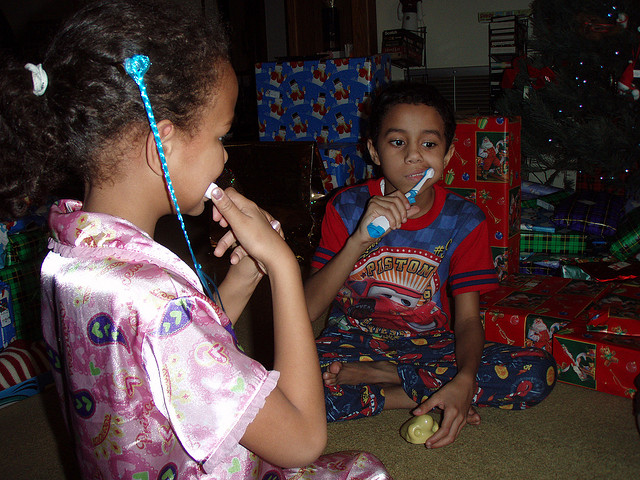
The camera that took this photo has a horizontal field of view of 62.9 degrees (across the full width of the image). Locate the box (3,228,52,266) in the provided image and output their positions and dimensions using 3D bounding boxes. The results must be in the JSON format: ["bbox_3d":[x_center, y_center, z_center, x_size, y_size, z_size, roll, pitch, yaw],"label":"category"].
[{"bbox_3d":[-1.037,0.028,1.832,0.134,0.110,0.150,-3,14,-10],"label":"box"}]

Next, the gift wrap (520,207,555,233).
[{"bbox_3d":[1.060,-0.093,2.557,0.152,0.038,0.161,6,31,19],"label":"gift wrap"}]

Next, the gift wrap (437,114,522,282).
[{"bbox_3d":[0.709,-0.225,2.234,0.346,0.738,0.316,16,19,31],"label":"gift wrap"}]

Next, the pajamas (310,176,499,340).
[{"bbox_3d":[0.257,0.050,1.698,0.596,0.516,0.307,8,21,19],"label":"pajamas"}]

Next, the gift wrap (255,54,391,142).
[{"bbox_3d":[0.103,-0.827,3.296,1.088,0.599,0.482,8,19,22],"label":"gift wrap"}]

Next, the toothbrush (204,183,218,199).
[{"bbox_3d":[-0.194,-0.087,0.924,0.022,0.031,0.040,-4,17,-12],"label":"toothbrush"}]

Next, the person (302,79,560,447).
[{"bbox_3d":[0.262,0.032,1.518,0.838,0.928,0.723,3,13,10],"label":"person"}]

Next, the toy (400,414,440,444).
[{"bbox_3d":[0.275,0.516,1.433,0.114,0.070,0.069,-2,57,-34],"label":"toy"}]
